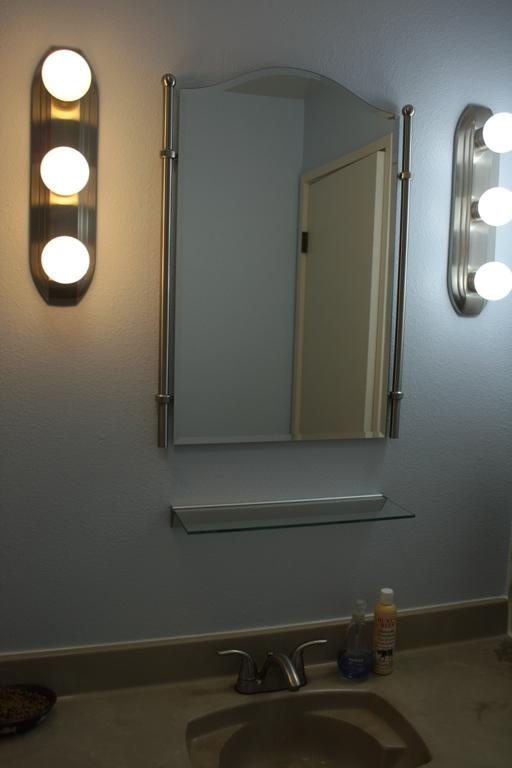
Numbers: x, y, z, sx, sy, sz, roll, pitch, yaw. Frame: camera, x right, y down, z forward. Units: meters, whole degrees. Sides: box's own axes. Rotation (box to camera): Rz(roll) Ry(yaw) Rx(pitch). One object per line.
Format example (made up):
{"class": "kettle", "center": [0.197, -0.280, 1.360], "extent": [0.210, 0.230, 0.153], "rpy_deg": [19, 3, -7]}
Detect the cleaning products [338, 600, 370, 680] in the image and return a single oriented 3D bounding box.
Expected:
{"class": "cleaning products", "center": [0.212, 0.533, 1.338], "extent": [0.068, 0.154, 0.092], "rpy_deg": [3, 3, 7]}

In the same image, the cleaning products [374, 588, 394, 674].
{"class": "cleaning products", "center": [0.284, 0.526, 1.386], "extent": [0.043, 0.170, 0.132], "rpy_deg": [3, 3, 12]}

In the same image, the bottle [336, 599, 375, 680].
{"class": "bottle", "center": [0.204, 0.550, 1.320], "extent": [0.057, 0.100, 0.163], "rpy_deg": [-1, -12, 6]}

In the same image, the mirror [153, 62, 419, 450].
{"class": "mirror", "center": [0.058, -0.240, 1.313], "extent": [0.481, 0.789, 0.350], "rpy_deg": [0, 7, -22]}
